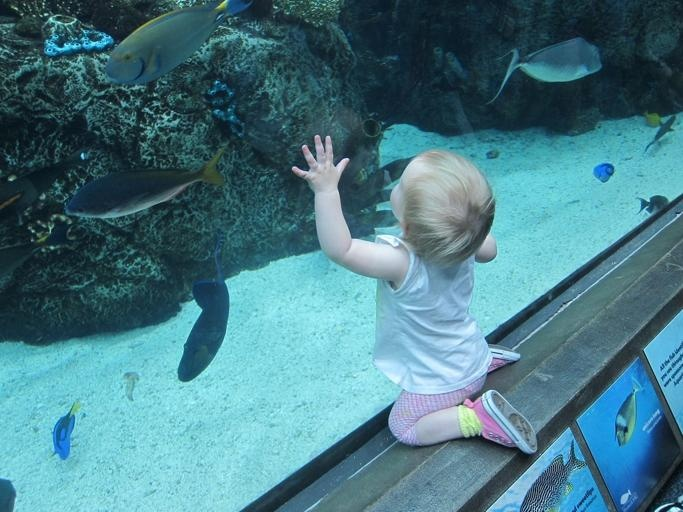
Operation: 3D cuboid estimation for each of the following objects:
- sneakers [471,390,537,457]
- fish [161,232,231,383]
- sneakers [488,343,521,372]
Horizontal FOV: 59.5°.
[{"bbox_3d":[0.867,0.882,3.095,0.363,0.158,0.190,35,65,-6],"label":"sneakers"},{"bbox_3d":[-0.879,0.352,3.973,0.360,0.239,1.049,6,61,7],"label":"fish"},{"bbox_3d":[0.942,0.592,3.489,0.256,0.111,0.088,-17,25,-17],"label":"sneakers"}]
